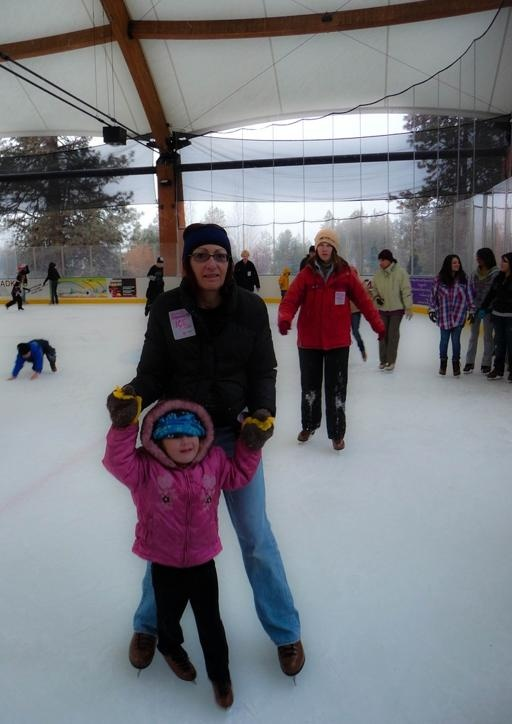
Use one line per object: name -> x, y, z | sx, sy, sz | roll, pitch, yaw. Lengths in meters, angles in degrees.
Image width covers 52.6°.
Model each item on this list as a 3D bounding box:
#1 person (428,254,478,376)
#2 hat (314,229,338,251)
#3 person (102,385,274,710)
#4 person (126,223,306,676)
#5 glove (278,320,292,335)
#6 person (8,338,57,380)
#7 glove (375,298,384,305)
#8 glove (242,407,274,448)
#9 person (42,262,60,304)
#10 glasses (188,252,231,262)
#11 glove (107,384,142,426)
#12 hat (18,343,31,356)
person -> 2.396, -0.576, 6.395 | 0.483, 1.449, 0.488 | 2, 6, 22
hat -> 0.445, -0.788, 3.354 | 0.113, 0.131, 0.153 | 4, -7, 3
person -> -0.159, 0.421, 1.225 | 0.378, 0.775, 0.242 | -3, 6, -19
person -> -0.122, 0.232, 1.280 | 0.510, 1.149, 0.460 | 0, 1, -18
glove -> 0.183, -0.231, 3.413 | 0.064, 0.089, 0.089 | -1, -5, -1
person -> -2.602, -0.046, 6.030 | 0.449, 0.429, 0.705 | -2, 6, -15
glove -> 1.577, -0.777, 6.629 | 0.064, 0.097, 0.070 | -8, -12, 6
glove -> 0.004, 0.142, 1.211 | 0.064, 0.088, 0.039 | 36, -27, 1
person -> -7.971, -3.090, 20.131 | 0.435, 1.604, 2.423 | -3, 6, -22
glasses -> -0.115, -0.258, 1.279 | 0.090, 0.026, 0.034 | -1, 6, -7
glove -> -0.282, 0.087, 1.105 | 0.064, 0.090, 0.160 | -2, 6, -14
hat -> -2.589, -0.156, 5.740 | 0.105, 0.153, 0.146 | 2, -10, 3
